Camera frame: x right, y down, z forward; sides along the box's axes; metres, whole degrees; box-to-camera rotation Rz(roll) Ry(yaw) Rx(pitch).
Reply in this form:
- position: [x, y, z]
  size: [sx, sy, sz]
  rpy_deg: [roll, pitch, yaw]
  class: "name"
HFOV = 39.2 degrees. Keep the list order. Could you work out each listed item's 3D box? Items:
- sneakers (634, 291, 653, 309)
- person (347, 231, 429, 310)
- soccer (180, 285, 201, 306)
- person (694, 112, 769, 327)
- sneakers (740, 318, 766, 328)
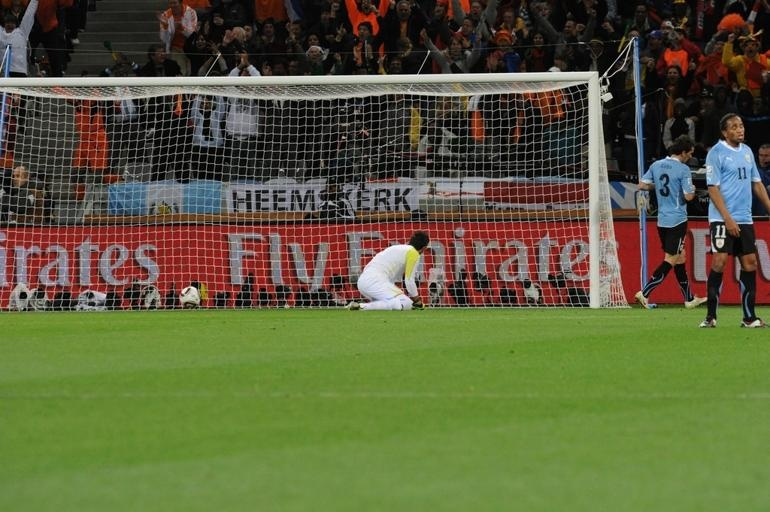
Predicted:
- position: [3.943, 0.663, 16.417]
  size: [0.382, 0.168, 0.126]
  rpy_deg: [39, 0, -39]
  class: "sneakers"
- position: [0.123, 0.202, 16.691]
  size: [1.311, 1.241, 0.920]
  rpy_deg: [1, 3, -38]
  class: "person"
- position: [-3.143, 0.649, 17.353]
  size: [0.307, 0.285, 0.294]
  rpy_deg: [-1, 14, -5]
  class: "soccer"
- position: [4.131, -0.349, 12.679]
  size: [0.773, 2.560, 0.844]
  rpy_deg: [4, 15, 15]
  class: "person"
- position: [4.330, 0.779, 12.653]
  size: [0.296, 0.120, 0.115]
  rpy_deg: [-1, 0, 12]
  class: "sneakers"
